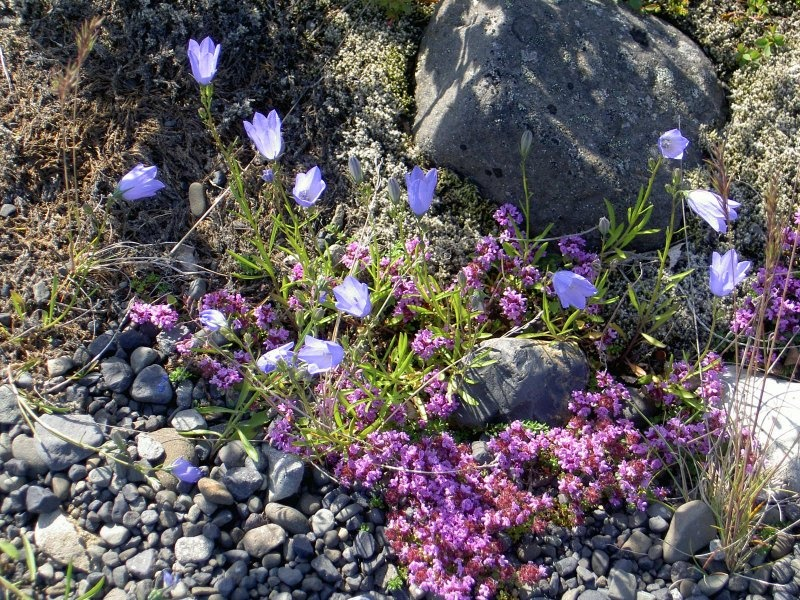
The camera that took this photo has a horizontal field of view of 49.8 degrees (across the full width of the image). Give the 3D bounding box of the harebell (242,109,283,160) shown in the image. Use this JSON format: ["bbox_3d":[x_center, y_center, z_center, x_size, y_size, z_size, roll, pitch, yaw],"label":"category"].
[{"bbox_3d":[-0.872,-1.054,5.275,0.202,0.241,0.192,-27,15,37],"label":"harebell"}]

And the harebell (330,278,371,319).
[{"bbox_3d":[-0.259,-0.033,4.921,0.202,0.208,0.204,-31,9,23],"label":"harebell"}]

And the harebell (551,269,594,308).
[{"bbox_3d":[1.027,-0.113,5.185,0.221,0.221,0.122,-36,25,3],"label":"harebell"}]

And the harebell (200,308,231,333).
[{"bbox_3d":[-1.079,0.127,5.037,0.121,0.171,0.068,-58,21,4],"label":"harebell"}]

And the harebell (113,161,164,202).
[{"bbox_3d":[-1.647,-0.806,5.523,0.225,0.163,0.301,-6,0,15],"label":"harebell"}]
